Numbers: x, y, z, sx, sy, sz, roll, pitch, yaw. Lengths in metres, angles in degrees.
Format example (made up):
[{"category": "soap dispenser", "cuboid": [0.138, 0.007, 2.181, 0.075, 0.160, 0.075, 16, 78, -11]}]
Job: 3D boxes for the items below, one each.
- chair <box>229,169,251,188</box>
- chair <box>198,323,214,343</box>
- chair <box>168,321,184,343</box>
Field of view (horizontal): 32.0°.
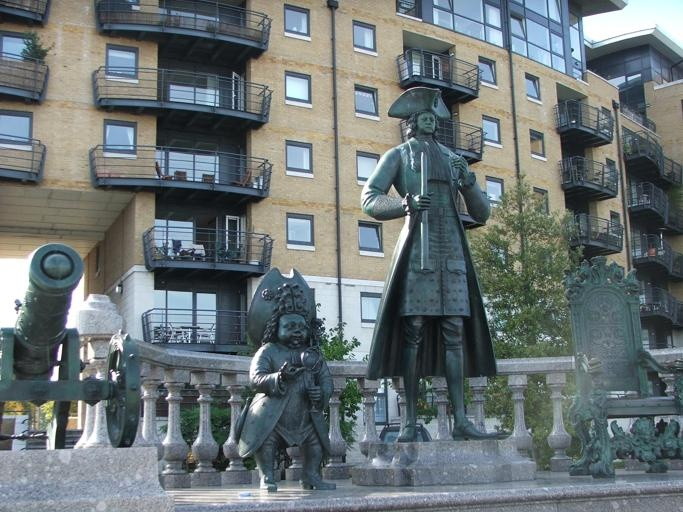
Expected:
[{"category": "chair", "cuboid": [-3.848, -2.989, 45.598, 0.746, 0.986, 0.696, 5, -8, -1]}, {"category": "chair", "cuboid": [-5.106, 2.803, 44.688, 0.644, 0.648, 0.656, -2, -3, -1]}, {"category": "chair", "cuboid": [-6.090, 2.797, 43.830, 0.702, 0.243, 0.529, 1, 24, -12]}]
